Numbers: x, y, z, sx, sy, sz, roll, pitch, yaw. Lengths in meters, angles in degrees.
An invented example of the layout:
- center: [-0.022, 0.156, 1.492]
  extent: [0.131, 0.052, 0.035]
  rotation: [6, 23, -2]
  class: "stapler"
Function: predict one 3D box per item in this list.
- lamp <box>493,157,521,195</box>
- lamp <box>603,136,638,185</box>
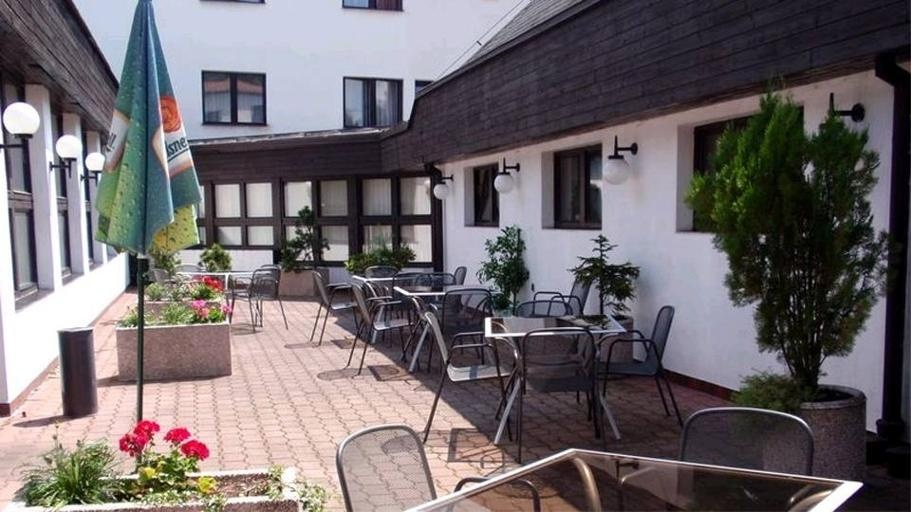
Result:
- center: [0.947, -1.590, 12.685]
  extent: [0.484, 0.716, 0.721]
  rotation: [-3, 10, -15]
  class: "lamp"
- center: [2.453, -1.458, 9.746]
  extent: [0.410, 0.740, 0.502]
  rotation: [-6, 12, -28]
  class: "lamp"
